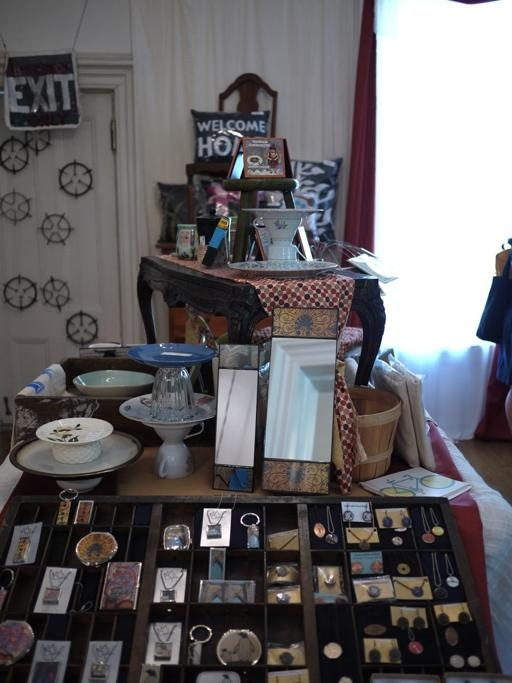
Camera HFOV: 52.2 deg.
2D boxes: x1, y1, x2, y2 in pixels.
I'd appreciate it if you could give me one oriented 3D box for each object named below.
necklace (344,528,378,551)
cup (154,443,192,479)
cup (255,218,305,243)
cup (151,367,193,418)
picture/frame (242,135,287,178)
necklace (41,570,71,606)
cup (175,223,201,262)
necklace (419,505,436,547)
[{"bbox_3d":[0.200,0.372,0.994,0.041,0.015,0.038,2,28,1],"label":"necklace"},{"bbox_3d":[-0.195,0.284,1.225,0.068,0.061,0.089,2,5,17],"label":"cup"},{"bbox_3d":[0.059,-0.281,1.322,0.115,0.050,0.112,0,8,0],"label":"cup"},{"bbox_3d":[-0.188,0.119,1.223,0.110,0.110,0.109,1,6,0],"label":"cup"},{"bbox_3d":[0.022,-0.469,1.336,0.125,0.104,0.044,-1,-3,-6],"label":"picture/frame"},{"bbox_3d":[-0.348,0.423,0.902,0.043,0.028,0.057,0,19,5],"label":"necklace"},{"bbox_3d":[-0.212,-0.344,1.777,0.090,0.119,0.122,1,9,-5],"label":"cup"},{"bbox_3d":[0.336,0.366,1.024,0.025,0.007,0.082,7,27,3],"label":"necklace"}]
